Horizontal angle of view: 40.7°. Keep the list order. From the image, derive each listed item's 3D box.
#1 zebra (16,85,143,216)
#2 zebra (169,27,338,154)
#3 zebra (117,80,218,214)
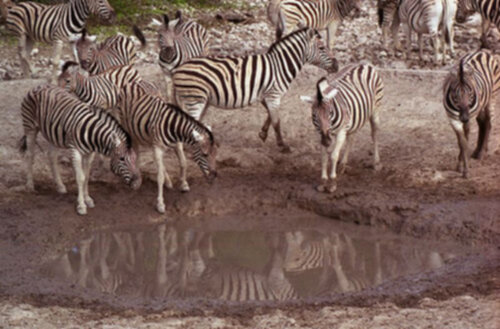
[{"bbox_3d":[-3.061,-0.211,11.823,3.170,2.069,0.767,22,24,32],"label":"zebra"},{"bbox_3d":[0.088,-1.346,13.130,2.587,1.913,0.818,-6,17,-14],"label":"zebra"},{"bbox_3d":[-1.524,-0.316,12.125,0.850,2.113,2.804,-23,42,-37],"label":"zebra"}]
